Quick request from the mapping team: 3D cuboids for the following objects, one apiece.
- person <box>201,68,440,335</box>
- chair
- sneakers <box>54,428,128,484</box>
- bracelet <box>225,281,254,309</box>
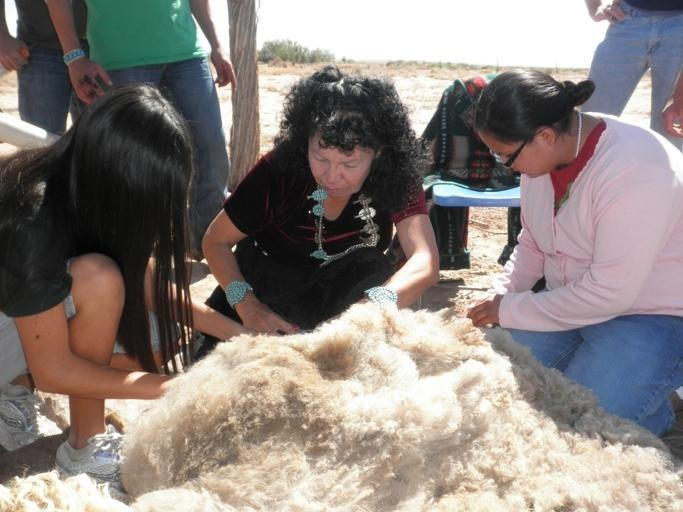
[{"bbox_3d":[-0.060,-0.310,3.382,1.071,1.384,1.137,-3,42,-6],"label":"person"},{"bbox_3d":[0.933,-0.489,4.674,0.709,1.084,0.731,7,24,13],"label":"chair"},{"bbox_3d":[-0.860,0.697,2.416,0.237,0.258,0.142,0,-13,2],"label":"sneakers"},{"bbox_3d":[-0.454,0.174,3.116,0.091,0.070,0.124,-28,1,-11],"label":"bracelet"}]
